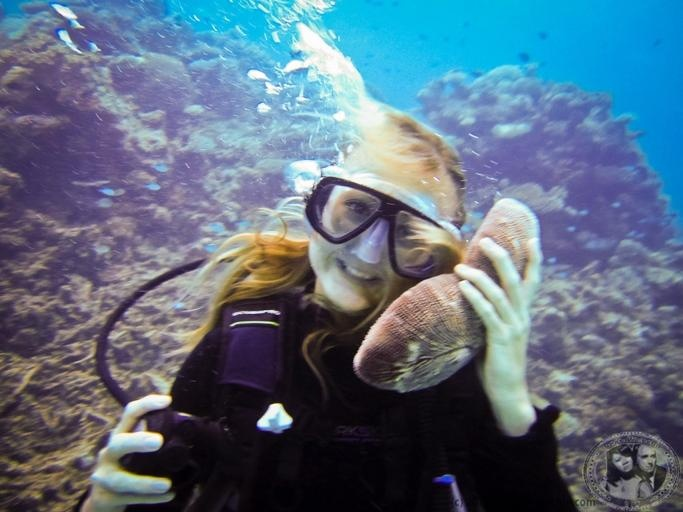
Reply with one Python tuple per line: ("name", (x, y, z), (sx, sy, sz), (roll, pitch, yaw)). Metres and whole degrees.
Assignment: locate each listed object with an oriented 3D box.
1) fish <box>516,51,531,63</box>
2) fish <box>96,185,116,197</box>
("fish", (1.484, -1.612, 4.512), (0.071, 0.086, 0.097), (5, 24, -41))
("fish", (-1.856, -0.513, 4.374), (0.106, 0.066, 0.031), (26, -17, -29))
